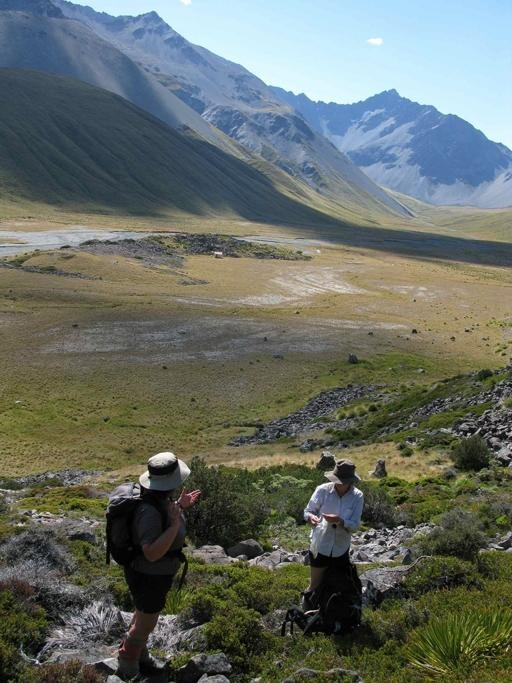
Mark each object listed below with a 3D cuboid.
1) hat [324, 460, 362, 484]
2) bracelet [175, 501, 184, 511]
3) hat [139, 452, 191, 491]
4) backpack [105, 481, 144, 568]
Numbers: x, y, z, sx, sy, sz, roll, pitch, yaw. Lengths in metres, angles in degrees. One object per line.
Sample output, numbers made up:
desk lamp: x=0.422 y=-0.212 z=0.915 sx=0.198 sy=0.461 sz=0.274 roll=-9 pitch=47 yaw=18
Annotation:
hat: x=1.278 y=1.874 z=8.566 sx=0.431 sy=0.182 sz=0.426 roll=3 pitch=-5 yaw=6
bracelet: x=-0.922 y=1.966 z=7.020 sx=0.025 sy=0.090 sz=0.070 roll=-39 pitch=-21 yaw=34
hat: x=-1.171 y=1.642 z=7.186 sx=0.561 sy=0.269 sz=0.523 roll=8 pitch=30 yaw=35
backpack: x=-1.574 y=2.206 z=7.000 sx=0.423 sy=0.958 sz=0.446 roll=-2 pitch=-4 yaw=-13
